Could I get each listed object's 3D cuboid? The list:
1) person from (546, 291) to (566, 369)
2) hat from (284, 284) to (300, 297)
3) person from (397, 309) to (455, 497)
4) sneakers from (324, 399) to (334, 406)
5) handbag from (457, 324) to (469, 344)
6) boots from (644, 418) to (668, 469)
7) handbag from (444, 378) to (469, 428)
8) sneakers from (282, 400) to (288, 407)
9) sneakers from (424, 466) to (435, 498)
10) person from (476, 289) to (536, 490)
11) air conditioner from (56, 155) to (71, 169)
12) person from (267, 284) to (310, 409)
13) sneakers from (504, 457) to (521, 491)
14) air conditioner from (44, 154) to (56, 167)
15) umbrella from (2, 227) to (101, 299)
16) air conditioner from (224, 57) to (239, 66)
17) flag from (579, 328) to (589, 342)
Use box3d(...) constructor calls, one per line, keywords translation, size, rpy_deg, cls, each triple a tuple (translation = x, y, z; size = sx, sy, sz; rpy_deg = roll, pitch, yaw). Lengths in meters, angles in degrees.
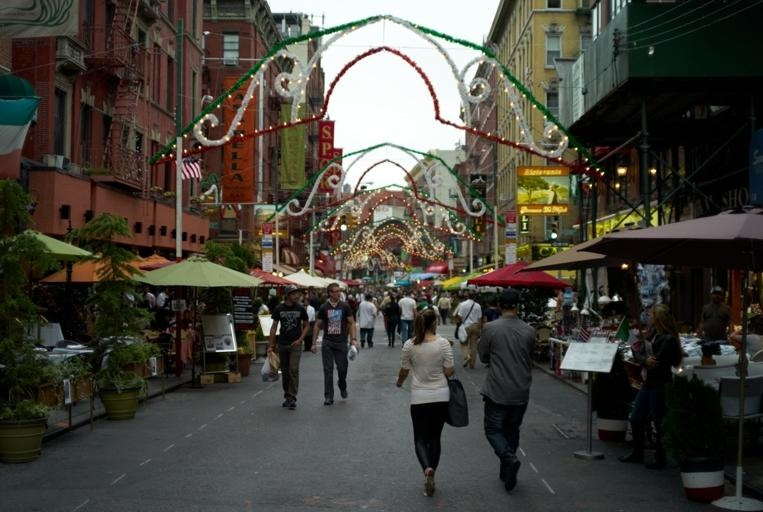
box3d(translation=(5.893, 2.434, 26.673), size=(0.623, 2.808, 0.557), rpy_deg=(13, -15, -18), cls="person")
box3d(translation=(-1.981, 0.717, 18.046), size=(0.270, 0.259, 0.726), rpy_deg=(0, -5, -10), cls="hat")
box3d(translation=(0.693, 2.101, 11.919), size=(0.804, 2.715, 0.749), rpy_deg=(-1, -5, 4), cls="person")
box3d(translation=(-1.155, 3.260, 18.089), size=(0.225, 0.121, 0.316), rpy_deg=(-1, -5, -6), cls="sneakers")
box3d(translation=(2.714, 2.484, 26.246), size=(0.274, 0.641, 0.826), rpy_deg=(-2, -5, 7), cls="handbag")
box3d(translation=(4.523, 3.068, 13.121), size=(0.394, 0.934, 0.232), rpy_deg=(3, -41, 23), cls="boots")
box3d(translation=(1.114, 2.140, 11.822), size=(0.320, 0.720, 0.316), rpy_deg=(-1, -5, 1), cls="handbag")
box3d(translation=(-2.114, 3.238, 17.784), size=(0.094, 0.160, 0.311), rpy_deg=(1, -6, -18), cls="sneakers")
box3d(translation=(0.712, 3.231, 11.538), size=(0.133, 0.391, 0.167), rpy_deg=(0, 1, -7), cls="sneakers")
box3d(translation=(1.861, 1.939, 12.015), size=(0.808, 2.972, 0.694), rpy_deg=(-3, -5, 19), cls="person")
box3d(translation=(-11.119, -3.391, 28.135), size=(0.490, 0.563, 0.393), rpy_deg=(1, 3, 1), cls="air conditioner")
box3d(translation=(-2.081, 2.007, 18.254), size=(0.854, 2.727, 1.379), rpy_deg=(0, -5, -9), cls="person")
box3d(translation=(1.925, 3.108, 11.670), size=(0.181, 0.546, 0.221), rpy_deg=(5, 7, 3), cls="sneakers")
box3d(translation=(-11.274, -3.395, 27.491), size=(0.495, 0.396, 0.491), rpy_deg=(6, 3, 36), cls="air conditioner")
box3d(translation=(-7.213, 0.143, 17.706), size=(1.859, 0.767, 1.842), rpy_deg=(4, -4, 2), cls="umbrella")
box3d(translation=(-11.475, -15.294, 62.256), size=(1.106, 0.866, 0.627), rpy_deg=(-1, -13, -1), cls="air conditioner")
box3d(translation=(5.449, 2.064, 21.366), size=(0.335, 0.267, 0.347), rpy_deg=(5, 2, -5), cls="flag")
